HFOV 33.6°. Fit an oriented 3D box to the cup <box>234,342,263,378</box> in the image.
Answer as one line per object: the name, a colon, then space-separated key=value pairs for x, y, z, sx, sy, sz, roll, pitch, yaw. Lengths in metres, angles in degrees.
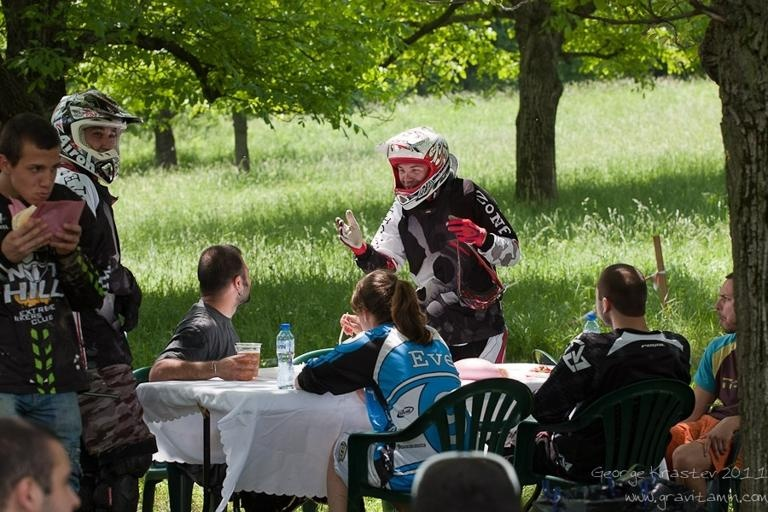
cup: x=-1.157 y=0.880 z=10.938 sx=0.273 sy=0.306 sz=0.267 roll=0 pitch=-15 yaw=0

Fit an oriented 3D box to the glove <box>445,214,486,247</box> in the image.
glove: x=0.730 y=-0.217 z=11.351 sx=0.355 sy=0.129 sz=0.208 roll=35 pitch=44 yaw=5

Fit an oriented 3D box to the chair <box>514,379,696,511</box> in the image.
chair: x=1.893 y=1.454 z=11.014 sx=1.190 sy=1.615 sz=1.141 roll=-3 pitch=11 yaw=-26

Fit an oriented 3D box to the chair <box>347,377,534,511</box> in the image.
chair: x=0.490 y=1.272 z=10.775 sx=1.248 sy=1.718 sz=1.187 roll=-2 pitch=6 yaw=-34
